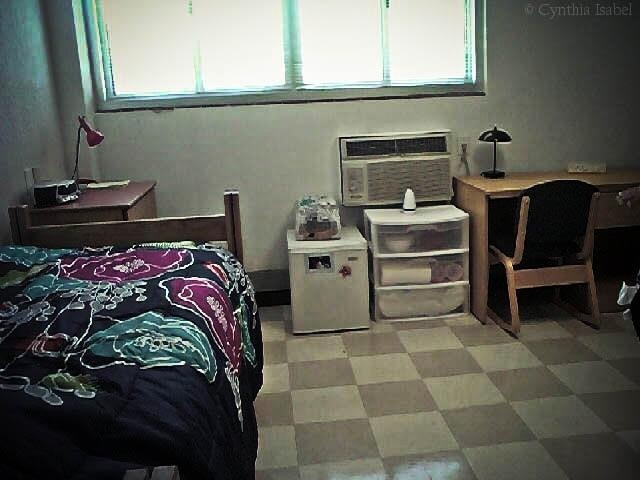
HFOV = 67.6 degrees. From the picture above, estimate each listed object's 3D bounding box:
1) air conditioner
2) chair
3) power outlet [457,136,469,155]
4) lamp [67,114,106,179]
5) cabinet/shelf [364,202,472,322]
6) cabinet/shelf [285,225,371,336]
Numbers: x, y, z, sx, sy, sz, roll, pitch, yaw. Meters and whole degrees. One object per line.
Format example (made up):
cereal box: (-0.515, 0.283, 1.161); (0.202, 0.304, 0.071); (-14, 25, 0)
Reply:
air conditioner: (0.517, -0.346, 3.369); (0.802, 0.581, 0.469); (-3, 9, -3)
chair: (1.367, 0.042, 2.969); (0.620, 0.921, 0.541); (-4, 18, -5)
power outlet: (1.011, -0.672, 3.382); (0.079, 0.111, 0.025); (-5, 18, -10)
lamp: (-1.477, -0.585, 3.033); (0.233, 0.395, 0.423); (-11, 20, -25)
cabinet/shelf: (0.619, 0.113, 3.282); (0.812, 0.841, 0.629); (-2, 10, -2)
cabinet/shelf: (0.035, 0.235, 3.205); (0.537, 0.555, 0.553); (-2, 17, -4)
